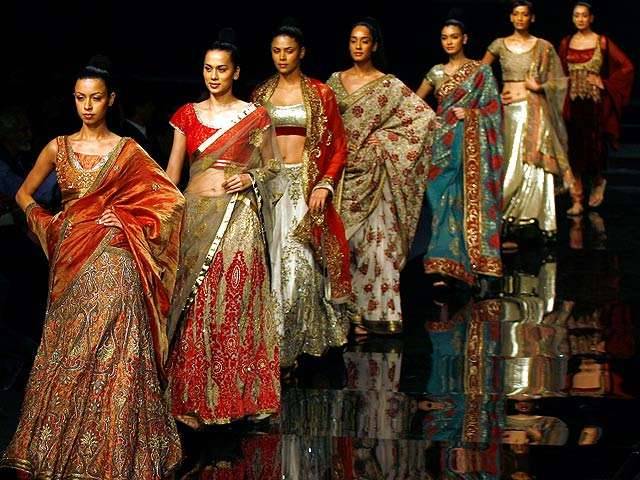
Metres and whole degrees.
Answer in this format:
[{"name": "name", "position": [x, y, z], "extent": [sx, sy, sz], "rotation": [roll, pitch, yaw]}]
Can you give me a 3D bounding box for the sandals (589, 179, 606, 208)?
[{"name": "sandals", "position": [2.441, -0.408, 7.623], "extent": [0.149, 0.284, 0.118], "rotation": [9, 32, 5]}]
